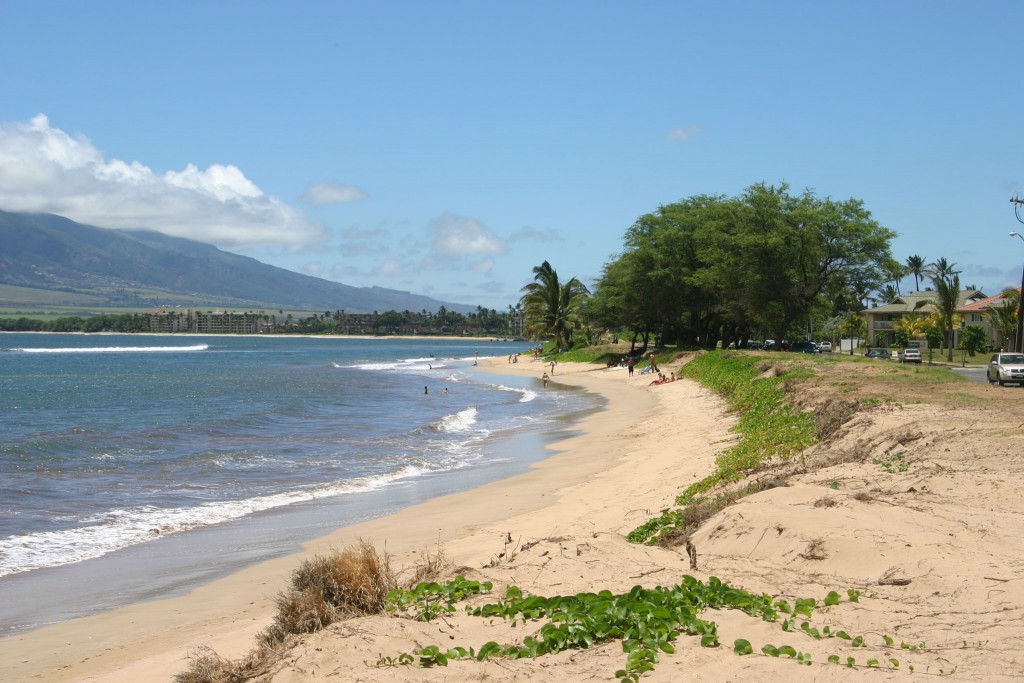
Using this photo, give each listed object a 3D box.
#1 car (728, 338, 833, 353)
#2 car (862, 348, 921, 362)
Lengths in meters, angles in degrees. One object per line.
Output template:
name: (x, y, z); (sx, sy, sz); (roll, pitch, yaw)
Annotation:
car: (23.678, 0.362, 76.433); (8.196, 0.881, 1.338); (3, -1, 1)
car: (30.144, 1.086, 67.420); (3.106, 0.702, 1.280); (-1, 4, -5)
